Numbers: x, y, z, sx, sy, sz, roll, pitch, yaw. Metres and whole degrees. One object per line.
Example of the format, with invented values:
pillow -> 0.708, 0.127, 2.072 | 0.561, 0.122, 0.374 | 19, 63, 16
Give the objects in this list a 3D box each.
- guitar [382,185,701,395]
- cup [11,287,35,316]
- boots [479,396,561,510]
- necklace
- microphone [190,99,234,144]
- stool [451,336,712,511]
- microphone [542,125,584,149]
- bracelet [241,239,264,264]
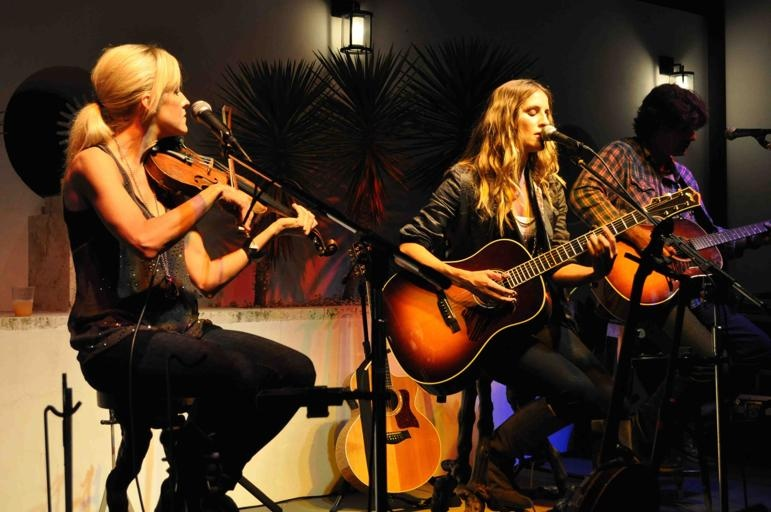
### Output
guitar -> 0.795, 0.345, 5.095 | 2.182, 0.903, 0.320 | -25, -21, 6
cup -> -2.148, 0.278, 4.890 | 0.139, 0.177, 0.149 | -1, -8, 0
boots -> 0.761, 1.141, 4.871 | 0.384, 0.728, 0.251 | 32, -7, 3
necklace -> -1.249, -0.198, 4.166 | 0.094, 0.744, 0.285 | -6, 7, 34
microphone -> -0.880, -0.670, 4.201 | 0.199, 0.274, 0.402 | -1, -5, -13
stool -> 0.951, 0.973, 4.730 | 0.874, 1.061, 0.524 | -6, -6, 40
microphone -> 0.969, -0.666, 4.671 | 0.111, 0.117, 0.425 | -1, 14, -27
bracelet -> -0.698, -0.032, 4.381 | 0.109, 0.086, 0.040 | -16, 17, 35
